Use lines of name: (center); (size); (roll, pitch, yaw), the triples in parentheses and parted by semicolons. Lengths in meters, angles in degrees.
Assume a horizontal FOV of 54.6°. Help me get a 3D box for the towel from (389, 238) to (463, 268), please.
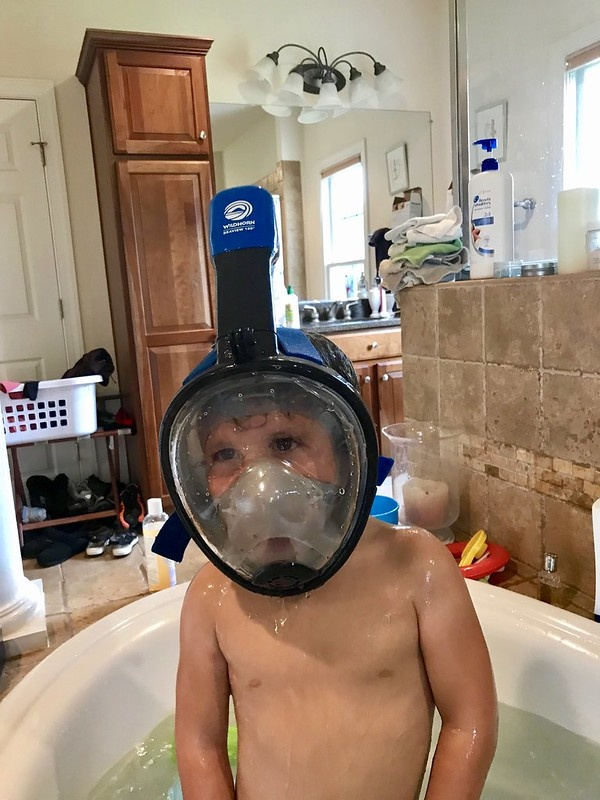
towel: (0.263, -0.310, 1.228); (0.156, 0.056, 0.103); (-3, 11, 18)

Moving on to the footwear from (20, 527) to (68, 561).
footwear: (-1.025, 0.578, 2.322); (0.145, 0.075, 0.206); (-6, 14, -22)

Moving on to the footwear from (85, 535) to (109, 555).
footwear: (-0.817, 0.585, 2.340); (0.058, 0.065, 0.109); (-5, 11, 10)

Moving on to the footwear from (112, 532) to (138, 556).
footwear: (-0.709, 0.580, 2.355); (0.101, 0.062, 0.146); (-10, 11, -18)

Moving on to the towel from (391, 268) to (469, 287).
towel: (0.280, -0.262, 1.229); (0.154, 0.043, 0.141); (-6, 11, 5)

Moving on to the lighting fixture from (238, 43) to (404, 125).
lighting fixture: (0.106, -1.624, 2.998); (0.599, 0.255, 0.487); (1, -16, 3)

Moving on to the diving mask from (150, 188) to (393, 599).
diving mask: (-0.027, -0.002, 0.405); (0.154, 0.287, 0.060); (-6, 10, 5)
